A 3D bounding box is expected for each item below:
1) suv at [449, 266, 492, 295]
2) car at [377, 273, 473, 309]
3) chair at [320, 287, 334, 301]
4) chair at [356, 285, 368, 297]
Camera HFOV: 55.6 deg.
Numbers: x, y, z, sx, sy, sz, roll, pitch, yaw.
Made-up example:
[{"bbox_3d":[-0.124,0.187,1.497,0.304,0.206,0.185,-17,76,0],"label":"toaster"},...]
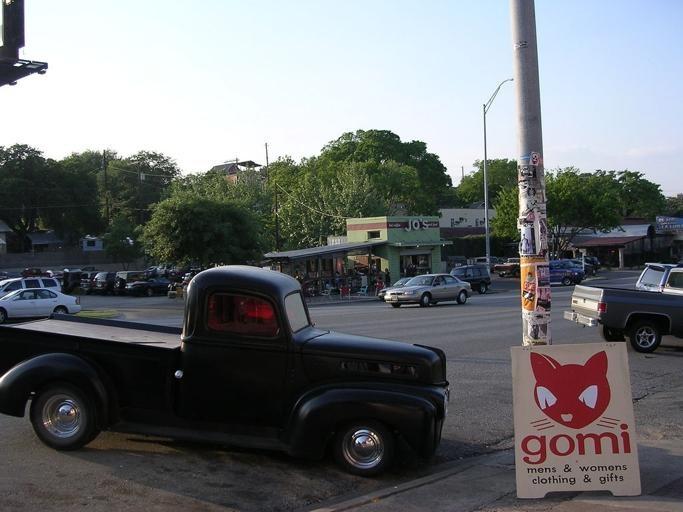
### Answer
[{"bbox_3d":[8.632,1.496,42.543,2.841,1.464,1.555,2,-4,-26],"label":"suv"},{"bbox_3d":[4.320,1.706,31.629,3.819,1.260,1.665,3,-5,-44],"label":"car"},{"bbox_3d":[-0.950,2.497,41.459,0.748,1.024,0.741,0,-3,-9],"label":"chair"},{"bbox_3d":[1.342,2.330,42.559,0.503,0.661,0.645,-1,-7,8],"label":"chair"}]
